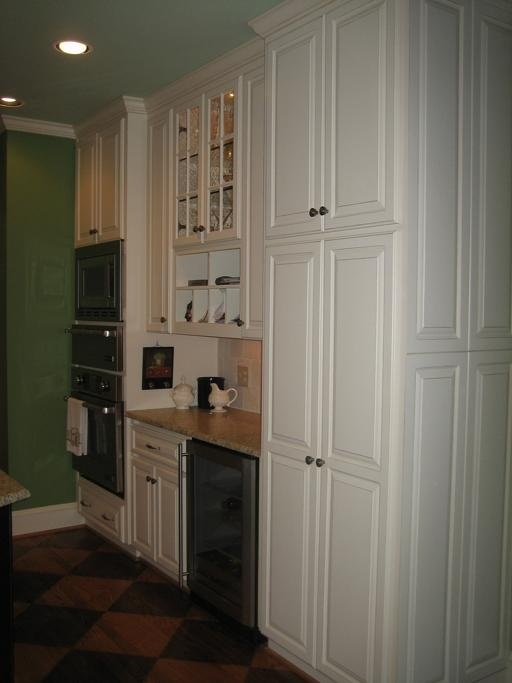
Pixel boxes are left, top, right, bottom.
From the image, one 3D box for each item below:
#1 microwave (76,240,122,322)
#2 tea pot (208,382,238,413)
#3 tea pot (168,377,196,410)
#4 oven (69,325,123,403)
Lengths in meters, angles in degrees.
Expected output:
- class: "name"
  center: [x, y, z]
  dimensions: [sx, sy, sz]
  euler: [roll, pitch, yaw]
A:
- class: "microwave"
  center: [-0.953, -0.377, 3.536]
  dimensions: [0.213, 0.467, 0.525]
  euler: [0, 1, -34]
- class: "tea pot"
  center: [-0.206, 0.351, 3.406]
  dimensions: [0.189, 0.197, 0.123]
  euler: [3, -4, -14]
- class: "tea pot"
  center: [-0.414, 0.299, 3.437]
  dimensions: [0.198, 0.207, 0.154]
  euler: [2, 7, 11]
- class: "oven"
  center: [-0.925, 0.104, 3.637]
  dimensions: [0.489, 0.473, 0.344]
  euler: [4, 5, 37]
